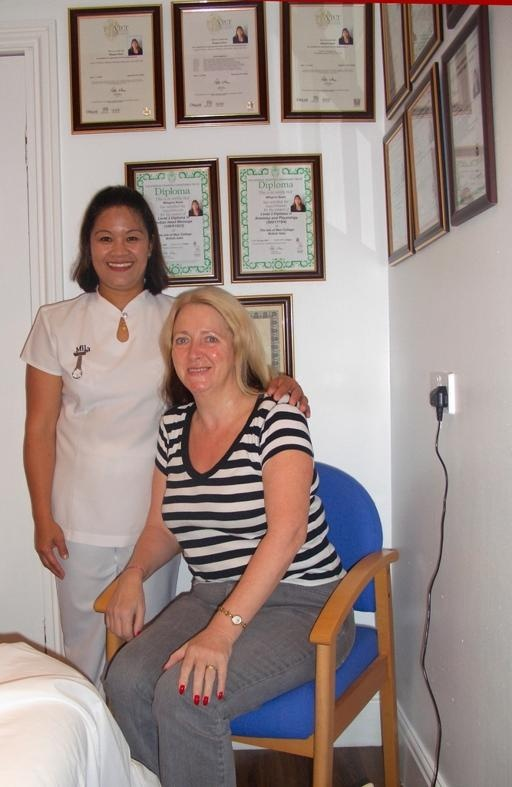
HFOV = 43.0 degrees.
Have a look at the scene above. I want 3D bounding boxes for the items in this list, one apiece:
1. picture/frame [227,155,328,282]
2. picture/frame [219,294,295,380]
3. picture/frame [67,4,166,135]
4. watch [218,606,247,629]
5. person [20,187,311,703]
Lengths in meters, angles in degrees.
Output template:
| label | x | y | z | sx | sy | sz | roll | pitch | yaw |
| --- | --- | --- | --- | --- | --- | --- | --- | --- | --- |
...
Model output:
| label | x | y | z | sx | sy | sz | roll | pitch | yaw |
| --- | --- | --- | --- | --- | --- | --- | --- | --- | --- |
| picture/frame | 0.058 | -0.512 | 1.899 | 0.310 | 0.411 | 0.019 | -2 | 1 | -2 |
| picture/frame | 0.003 | -0.144 | 1.583 | 0.232 | 0.282 | 0.011 | -1 | 5 | 6 |
| picture/frame | -0.400 | -0.949 | 1.880 | 0.317 | 0.423 | 0.027 | -1 | 2 | 1 |
| watch | -0.038 | 0.373 | 1.079 | 0.040 | 0.013 | 0.029 | 32 | 26 | 16 |
| person | -0.284 | 0.302 | 1.747 | 0.652 | 1.609 | 0.375 | 5 | 21 | 1 |
